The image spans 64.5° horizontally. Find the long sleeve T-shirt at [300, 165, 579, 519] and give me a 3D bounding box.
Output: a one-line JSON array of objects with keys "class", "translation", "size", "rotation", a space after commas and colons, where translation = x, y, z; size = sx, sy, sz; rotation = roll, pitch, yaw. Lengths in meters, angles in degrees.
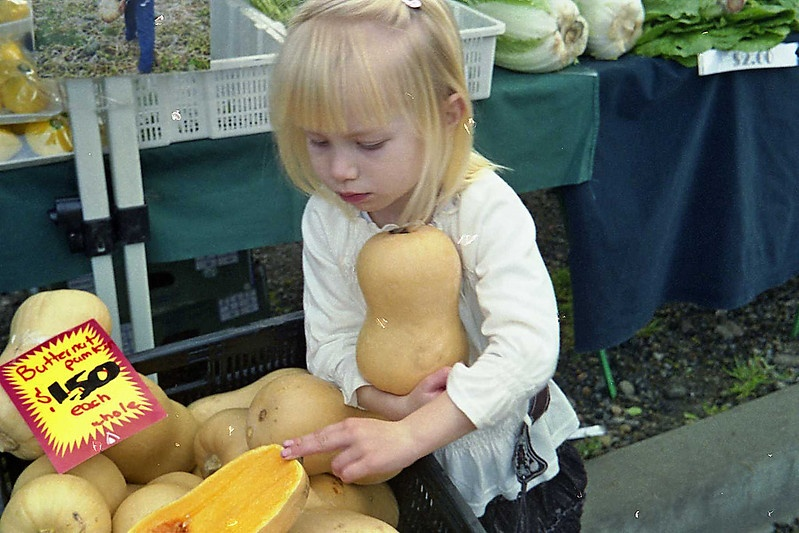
[{"class": "long sleeve T-shirt", "translation": [0.139, 0.162, 1.789], "size": [0.659, 0.898, 0.570], "rotation": [6, 36, 28]}]

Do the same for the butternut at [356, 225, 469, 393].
[{"class": "butternut", "translation": [0.023, 0.109, 1.545], "size": [0.277, 0.380, 0.193], "rotation": [-4, 21, 6]}]

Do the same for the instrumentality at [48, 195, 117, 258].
[{"class": "instrumentality", "translation": [-0.995, -0.124, 1.986], "size": [0.169, 0.202, 0.051], "rotation": [-11, 21, -12]}]
